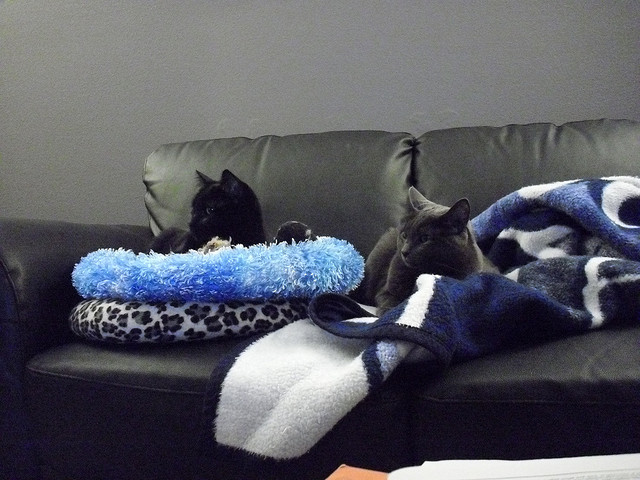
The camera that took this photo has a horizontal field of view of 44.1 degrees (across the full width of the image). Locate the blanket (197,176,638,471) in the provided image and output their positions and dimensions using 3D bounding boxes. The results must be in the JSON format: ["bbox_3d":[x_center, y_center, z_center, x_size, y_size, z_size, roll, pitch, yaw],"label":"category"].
[{"bbox_3d":[0.318,0.207,1.984,1.105,0.459,0.647,-6,3,-30],"label":"blanket"}]

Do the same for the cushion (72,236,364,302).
[{"bbox_3d":[-0.253,0.090,2.080,0.405,0.110,0.314,-3,-3,8],"label":"cushion"}]

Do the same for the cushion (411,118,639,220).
[{"bbox_3d":[0.649,-0.257,2.498,0.450,0.155,0.451,-2,-10,-10],"label":"cushion"}]

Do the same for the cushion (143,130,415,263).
[{"bbox_3d":[-0.133,-0.181,2.789,1.049,0.424,0.346,-3,19,-3],"label":"cushion"}]

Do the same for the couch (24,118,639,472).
[{"bbox_3d":[0.102,0.099,2.266,1.567,0.899,1.101,5,12,13],"label":"couch"}]

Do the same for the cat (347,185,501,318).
[{"bbox_3d":[0.271,0.053,2.227,0.284,0.234,0.473,8,-9,18],"label":"cat"}]

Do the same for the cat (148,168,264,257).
[{"bbox_3d":[-0.286,-0.087,2.399,0.351,0.275,0.218,-11,9,-42],"label":"cat"}]
